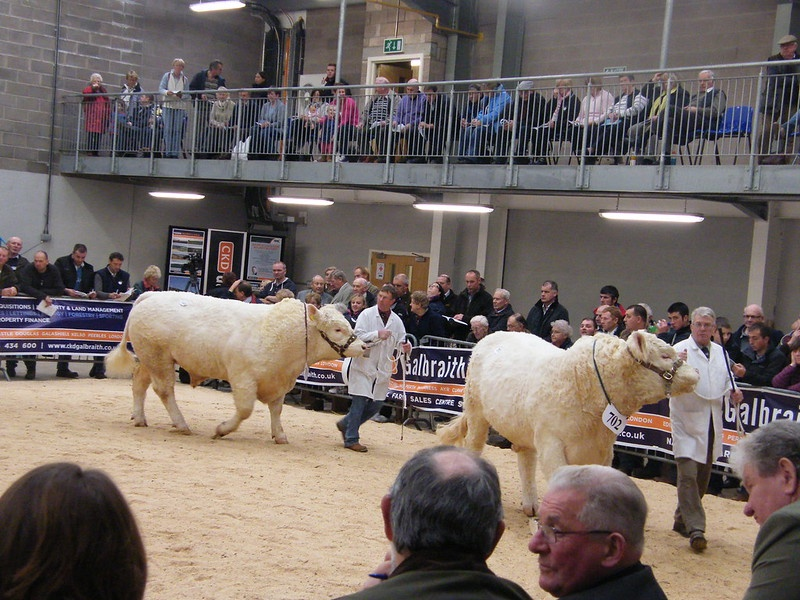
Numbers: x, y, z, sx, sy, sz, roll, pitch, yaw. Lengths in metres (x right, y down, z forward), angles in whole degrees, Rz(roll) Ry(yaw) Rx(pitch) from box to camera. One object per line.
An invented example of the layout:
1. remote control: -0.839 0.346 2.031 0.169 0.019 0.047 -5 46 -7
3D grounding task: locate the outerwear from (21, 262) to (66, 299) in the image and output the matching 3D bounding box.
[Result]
1. outerwear: -6.357 -0.346 20.820 0.508 0.656 0.699 2 -2 -34

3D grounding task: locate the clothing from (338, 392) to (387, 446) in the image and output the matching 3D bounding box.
1. clothing: -0.603 1.655 17.622 0.665 1.235 0.438 2 -6 2

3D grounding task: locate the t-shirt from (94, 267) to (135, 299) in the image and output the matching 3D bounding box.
1. t-shirt: -5.398 -0.288 21.979 0.616 0.706 0.619 -1 0 45

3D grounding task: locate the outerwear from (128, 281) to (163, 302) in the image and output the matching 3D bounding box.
1. outerwear: -4.908 -0.201 22.609 0.638 0.526 0.232 1 -20 -10

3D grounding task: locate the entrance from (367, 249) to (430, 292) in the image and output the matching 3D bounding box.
1. entrance: 0.006 -0.566 27.571 1.543 1.019 0.155 8 9 31

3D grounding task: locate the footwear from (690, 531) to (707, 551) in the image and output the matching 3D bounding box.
1. footwear: 3.730 3.022 14.608 0.124 0.156 0.355 0 -39 6

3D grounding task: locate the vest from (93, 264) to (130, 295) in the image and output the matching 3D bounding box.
1. vest: -5.403 -0.319 22.041 0.791 0.716 0.467 -1 0 -41

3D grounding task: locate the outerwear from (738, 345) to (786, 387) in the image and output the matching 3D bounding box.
1. outerwear: 5.198 0.968 16.743 0.298 0.543 0.394 23 10 4

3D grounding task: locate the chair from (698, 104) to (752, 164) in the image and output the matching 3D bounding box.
1. chair: 5.450 -2.848 19.174 0.385 0.358 0.577 18 -24 5

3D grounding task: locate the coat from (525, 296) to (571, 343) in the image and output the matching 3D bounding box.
1. coat: 2.495 0.316 19.669 0.746 0.760 0.387 10 10 33

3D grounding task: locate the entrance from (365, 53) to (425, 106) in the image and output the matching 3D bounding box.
1. entrance: -0.050 -5.113 27.752 1.253 1.205 0.867 8 13 30

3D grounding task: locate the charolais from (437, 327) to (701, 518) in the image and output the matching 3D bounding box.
1. charolais: 2.051 1.603 15.226 1.490 2.539 4.412 5 -2 -34

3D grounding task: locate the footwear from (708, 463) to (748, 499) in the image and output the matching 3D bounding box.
1. footwear: 4.768 2.653 17.125 0.616 0.216 0.441 0 -12 41
